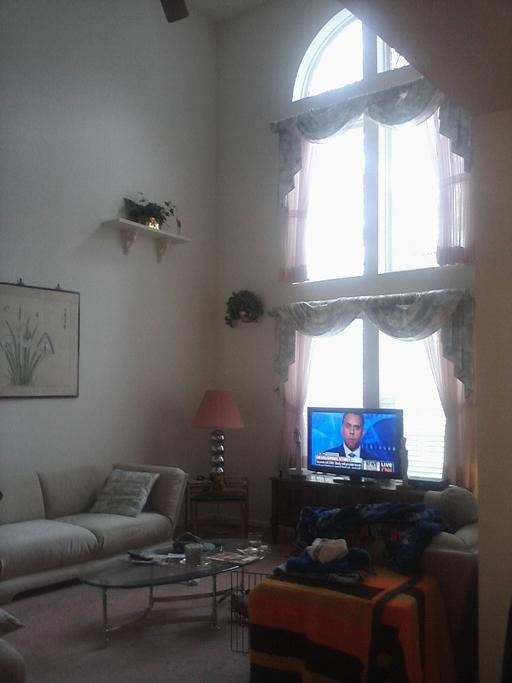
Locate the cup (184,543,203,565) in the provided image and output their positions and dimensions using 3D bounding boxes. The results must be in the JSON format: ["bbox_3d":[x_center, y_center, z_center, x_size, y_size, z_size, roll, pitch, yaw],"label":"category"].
[{"bbox_3d":[-0.339,1.164,3.080,0.077,0.099,0.082,1,-7,0],"label":"cup"}]

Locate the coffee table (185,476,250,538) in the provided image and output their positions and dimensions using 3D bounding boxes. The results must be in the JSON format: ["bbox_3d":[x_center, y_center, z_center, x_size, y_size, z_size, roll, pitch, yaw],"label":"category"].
[{"bbox_3d":[-0.368,1.495,5.191,0.528,0.557,1.077,2,0,-5],"label":"coffee table"}]
